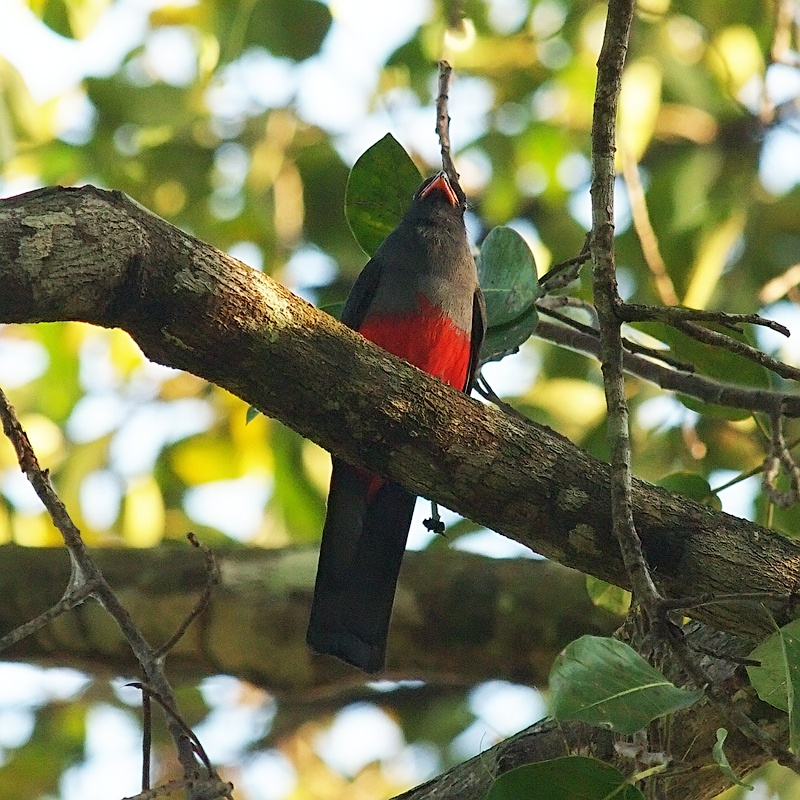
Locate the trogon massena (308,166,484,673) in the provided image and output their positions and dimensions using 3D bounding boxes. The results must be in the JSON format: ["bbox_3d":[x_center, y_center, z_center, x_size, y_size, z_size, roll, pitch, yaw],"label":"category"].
[{"bbox_3d":[-0.060,0.071,5.283,0.528,0.715,1.811,12,-97,-14],"label":"trogon massena"}]
